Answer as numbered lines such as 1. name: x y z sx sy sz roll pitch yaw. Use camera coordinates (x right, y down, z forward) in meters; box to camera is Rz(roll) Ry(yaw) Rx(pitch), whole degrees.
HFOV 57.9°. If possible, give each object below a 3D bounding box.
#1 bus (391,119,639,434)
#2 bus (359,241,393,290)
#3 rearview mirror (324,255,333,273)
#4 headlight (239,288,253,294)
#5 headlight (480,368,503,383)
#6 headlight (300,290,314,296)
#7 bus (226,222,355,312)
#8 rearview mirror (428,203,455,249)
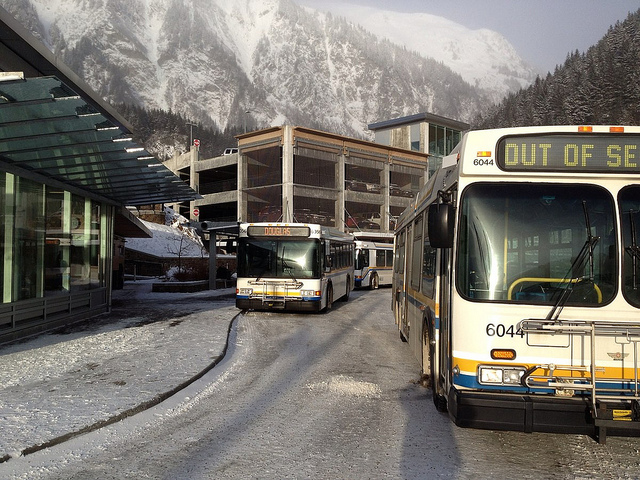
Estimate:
1. bus: 3.001 0.420 7.789 2.531 3.991 1.140 1 2 2
2. bus: 3.289 1.490 34.008 0.519 2.810 4.359 2 2 27
3. rearview mirror: 0.246 0.851 19.551 0.107 0.557 0.370 4 1 19
4. headlight: -2.443 1.710 19.033 0.499 0.203 0.066 2 2 25
5. headlight: 2.266 1.815 7.696 0.288 0.195 0.038 1 2 7
6. headlight: -0.437 1.759 18.897 0.444 0.190 0.076 1 2 9
7. bus: -0.373 1.013 20.808 2.472 3.167 5.782 2 2 31
8. rearview mirror: 1.798 -0.217 8.076 0.371 0.612 0.358 3 10 -19
